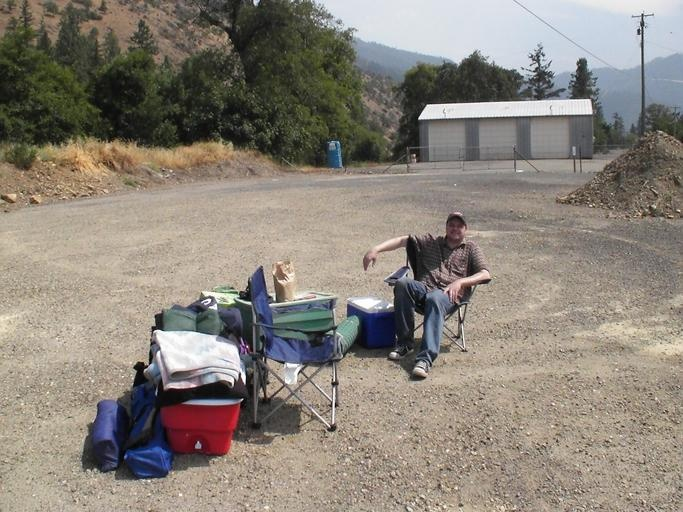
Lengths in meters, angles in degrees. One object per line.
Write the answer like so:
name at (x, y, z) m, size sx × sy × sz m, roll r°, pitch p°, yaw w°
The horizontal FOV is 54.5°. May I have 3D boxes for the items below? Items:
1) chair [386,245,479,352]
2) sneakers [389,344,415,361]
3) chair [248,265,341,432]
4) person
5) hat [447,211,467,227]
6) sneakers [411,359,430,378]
chair at (1.164, 0.671, 8.390) m, size 1.074 × 1.705 × 1.035 m, roll 4°, pitch -7°, yaw -24°
sneakers at (0.744, 1.158, 7.991) m, size 0.329 × 0.180 × 0.135 m, roll 7°, pitch -2°, yaw -34°
chair at (-0.501, 0.948, 7.048) m, size 0.889 × 1.661 × 1.009 m, roll 0°, pitch 2°, yaw 12°
person at (1.075, 0.369, 8.103) m, size 1.298 × 1.700 × 1.059 m, roll -8°, pitch 13°, yaw -36°
hat at (1.480, -0.476, 8.412) m, size 0.240 × 0.188 × 0.451 m, roll 4°, pitch -5°, yaw 14°
sneakers at (0.923, 1.277, 7.527) m, size 0.241 × 0.182 × 0.204 m, roll -3°, pitch 11°, yaw -12°
